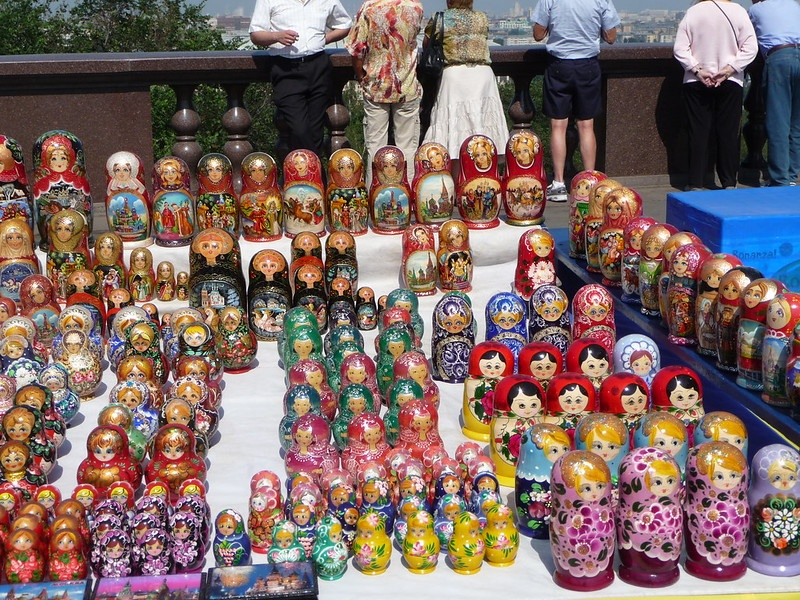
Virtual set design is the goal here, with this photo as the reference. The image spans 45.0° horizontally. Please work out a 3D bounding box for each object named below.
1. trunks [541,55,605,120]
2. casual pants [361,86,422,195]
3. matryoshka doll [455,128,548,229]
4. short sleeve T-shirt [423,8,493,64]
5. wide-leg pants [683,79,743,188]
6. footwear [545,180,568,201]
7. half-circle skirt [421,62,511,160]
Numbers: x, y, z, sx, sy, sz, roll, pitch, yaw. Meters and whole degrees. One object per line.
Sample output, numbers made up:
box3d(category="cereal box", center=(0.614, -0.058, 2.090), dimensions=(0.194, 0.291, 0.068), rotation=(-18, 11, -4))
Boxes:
box3d(category="trunks", center=(1.684, -2.119, 9.384), dimensions=(0.549, 0.689, 0.391), rotation=(0, 38, 9))
box3d(category="casual pants", center=(-0.128, -1.475, 8.949), dimensions=(0.414, 0.340, 1.255), rotation=(7, 43, 1))
box3d(category="matryoshka doll", center=(0.865, -1.029, 8.360), dimensions=(0.770, 0.865, 0.417), rotation=(-5, 21, -8))
box3d(category="short sleeve T-shirt", center=(0.630, -2.488, 9.148), dimensions=(0.453, 0.540, 0.224), rotation=(-7, 9, -7))
box3d(category="wide-leg pants", center=(3.208, -1.705, 9.788), dimensions=(0.515, 1.395, 0.428), rotation=(1, -27, 18))
box3d(category="footwear", center=(1.595, -1.100, 9.731), dimensions=(0.114, 0.156, 0.300), rotation=(-1, 24, -2))
box3d(category="half-circle skirt", center=(0.640, -1.718, 9.529), dimensions=(0.576, 1.068, 0.948), rotation=(-3, -13, 5))
